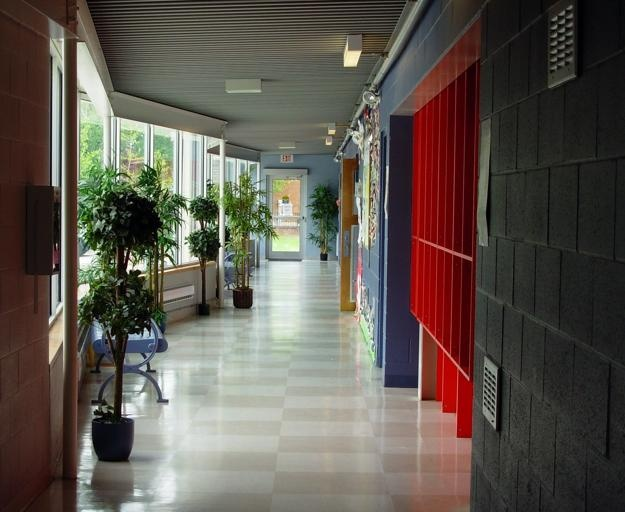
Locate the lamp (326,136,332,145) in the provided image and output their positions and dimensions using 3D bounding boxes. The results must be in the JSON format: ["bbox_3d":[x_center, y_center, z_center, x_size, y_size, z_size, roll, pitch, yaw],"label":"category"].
[{"bbox_3d":[0.381,-2.823,12.103,0.114,0.173,0.233,1,1,1],"label":"lamp"}]

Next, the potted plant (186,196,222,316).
[{"bbox_3d":[-2.012,-0.039,9.062,0.580,2.130,0.920,0,3,-13],"label":"potted plant"}]

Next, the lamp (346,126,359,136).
[{"bbox_3d":[0.698,-2.253,8.962,0.296,0.107,0.242,0,6,0],"label":"lamp"}]

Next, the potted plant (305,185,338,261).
[{"bbox_3d":[0.324,-1.160,17.343,1.008,2.662,0.677,0,3,-2],"label":"potted plant"}]

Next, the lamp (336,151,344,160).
[{"bbox_3d":[0.769,-2.908,14.351,0.060,0.210,0.131,13,-4,-28],"label":"lamp"}]

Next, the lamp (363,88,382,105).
[{"bbox_3d":[0.693,-1.899,5.925,0.165,0.189,0.214,20,-5,37],"label":"lamp"}]

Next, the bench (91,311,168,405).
[{"bbox_3d":[-1.785,1.013,4.785,0.383,0.467,0.917,2,-2,-7],"label":"bench"}]

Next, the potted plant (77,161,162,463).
[{"bbox_3d":[-1.620,0.367,4.129,0.597,2.187,1.264,-1,3,-26],"label":"potted plant"}]

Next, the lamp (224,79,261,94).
[{"bbox_3d":[-0.872,-2.132,6.210,0.464,0.110,0.304,1,4,-1],"label":"lamp"}]
